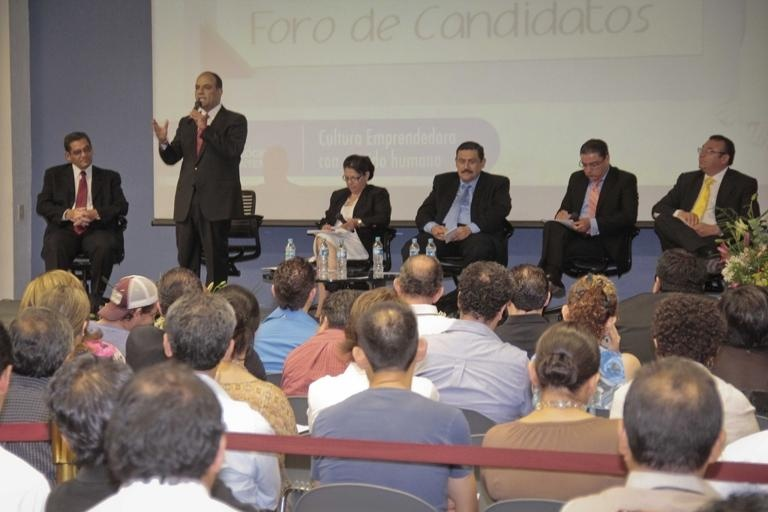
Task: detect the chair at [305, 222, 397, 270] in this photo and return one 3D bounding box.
[{"bbox_3d":[-0.278,-0.093,6.593,0.446,0.548,0.507,-2,-12,16],"label":"chair"}]

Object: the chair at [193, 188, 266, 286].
[{"bbox_3d":[-1.433,-0.214,7.227,0.513,0.769,0.530,3,7,7],"label":"chair"}]

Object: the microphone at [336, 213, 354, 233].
[{"bbox_3d":[-0.342,-0.288,6.710,0.126,0.064,0.169,14,4,-38],"label":"microphone"}]

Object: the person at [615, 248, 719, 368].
[{"bbox_3d":[1.565,0.272,4.249,0.391,0.861,0.470,5,29,16],"label":"person"}]

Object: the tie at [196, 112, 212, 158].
[{"bbox_3d":[-1.507,-0.997,6.322,0.093,0.333,0.232,5,3,-45],"label":"tie"}]

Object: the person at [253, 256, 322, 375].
[{"bbox_3d":[-0.542,0.345,4.420,0.487,0.749,0.403,4,4,7],"label":"person"}]

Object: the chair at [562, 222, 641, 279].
[{"bbox_3d":[1.790,-0.054,6.509,0.529,0.749,0.469,1,4,15],"label":"chair"}]

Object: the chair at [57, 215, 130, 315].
[{"bbox_3d":[-2.609,0.123,6.692,0.523,0.757,0.492,17,19,35],"label":"chair"}]

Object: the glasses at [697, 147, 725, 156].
[{"bbox_3d":[2.763,-0.887,6.497,0.174,0.053,0.172,5,3,-20],"label":"glasses"}]

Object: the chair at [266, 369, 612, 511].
[{"bbox_3d":[0.302,0.700,2.864,1.067,0.536,0.570,0,8,-21],"label":"chair"}]

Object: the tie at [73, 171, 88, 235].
[{"bbox_3d":[-2.708,-0.547,6.925,0.106,0.076,0.624,-12,-23,-29],"label":"tie"}]

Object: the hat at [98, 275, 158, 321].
[{"bbox_3d":[-1.470,0.225,4.412,0.231,0.200,0.374,14,26,37],"label":"hat"}]

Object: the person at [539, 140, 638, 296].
[{"bbox_3d":[1.646,-0.256,6.538,0.973,1.464,0.786,0,6,-32],"label":"person"}]

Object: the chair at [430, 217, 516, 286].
[{"bbox_3d":[0.751,-0.027,6.473,0.460,0.595,0.512,0,-5,30],"label":"chair"}]
